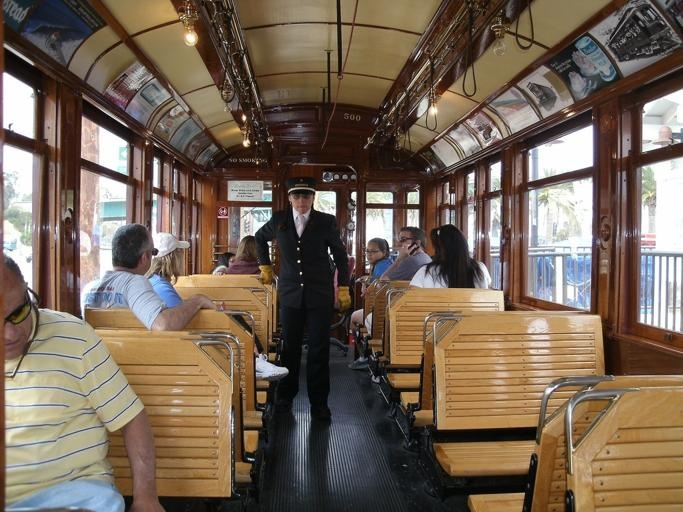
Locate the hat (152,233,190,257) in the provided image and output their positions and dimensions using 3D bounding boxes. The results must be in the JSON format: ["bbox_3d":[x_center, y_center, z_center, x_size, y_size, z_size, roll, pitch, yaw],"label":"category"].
[{"bbox_3d":[-1.414,-0.105,4.343,0.270,0.147,0.174,-22,28,-34],"label":"hat"}]

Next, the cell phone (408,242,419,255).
[{"bbox_3d":[0.968,-0.098,7.179,0.144,0.164,0.121,31,3,-7],"label":"cell phone"}]

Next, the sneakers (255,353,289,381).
[{"bbox_3d":[-0.668,0.967,4.610,0.376,0.183,0.157,4,1,18],"label":"sneakers"}]

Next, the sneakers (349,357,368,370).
[{"bbox_3d":[0.263,1.484,7.483,0.301,0.136,0.213,3,3,31],"label":"sneakers"}]

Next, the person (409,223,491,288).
[{"bbox_3d":[1.143,0.041,5.427,0.732,0.702,0.405,-8,4,-20],"label":"person"}]

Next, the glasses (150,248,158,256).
[{"bbox_3d":[-1.419,-0.032,4.001,0.056,0.047,0.060,5,1,12],"label":"glasses"}]

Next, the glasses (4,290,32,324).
[{"bbox_3d":[-1.516,0.247,2.488,0.141,0.141,0.042,45,2,38],"label":"glasses"}]

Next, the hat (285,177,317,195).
[{"bbox_3d":[-0.407,-0.716,5.434,0.284,0.180,0.209,0,4,-6],"label":"hat"}]

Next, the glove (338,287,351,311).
[{"bbox_3d":[0.025,0.454,5.583,0.162,0.230,0.091,2,-4,-26],"label":"glove"}]

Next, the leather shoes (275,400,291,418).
[{"bbox_3d":[-0.601,1.631,5.672,0.163,0.141,0.245,3,-4,-3],"label":"leather shoes"}]

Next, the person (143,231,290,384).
[{"bbox_3d":[-1.045,0.442,4.663,1.516,1.065,0.610,3,1,13],"label":"person"}]
